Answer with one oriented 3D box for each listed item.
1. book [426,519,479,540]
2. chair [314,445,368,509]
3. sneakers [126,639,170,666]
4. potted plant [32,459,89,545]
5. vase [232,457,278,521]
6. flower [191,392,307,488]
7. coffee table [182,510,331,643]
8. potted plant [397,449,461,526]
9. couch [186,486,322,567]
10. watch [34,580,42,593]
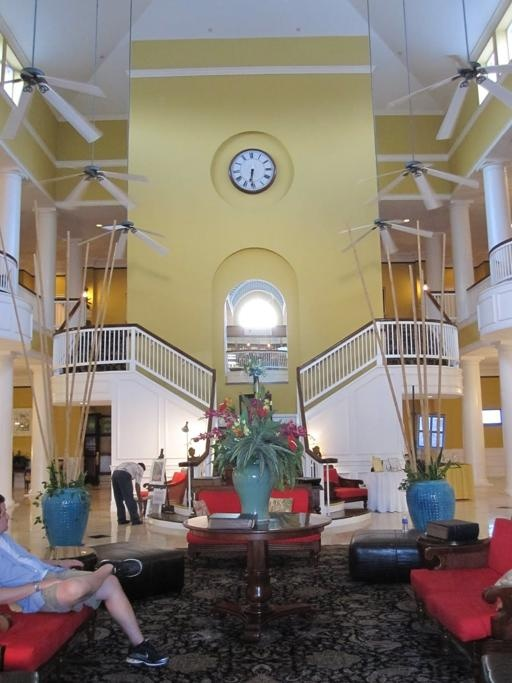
[{"bbox_3d":[1.245,1.160,3.580,0.187,0.075,0.198,1,-3,-27],"label":"book"},{"bbox_3d":[1.275,2.215,9.127,0.585,0.709,0.647,7,-21,-41],"label":"chair"},{"bbox_3d":[-0.525,1.514,2.839,0.218,0.120,0.098,4,-8,4],"label":"sneakers"},{"bbox_3d":[-1.535,1.320,4.667,0.383,0.592,0.404,0,-3,-39],"label":"potted plant"},{"bbox_3d":[0.005,0.875,3.518,0.238,0.370,0.238,-3,-7,25],"label":"vase"},{"bbox_3d":[-0.041,0.698,3.605,0.592,0.499,0.613,-16,-9,39],"label":"flower"},{"bbox_3d":[0.014,1.396,3.545,0.803,0.612,0.835,-5,-10,25],"label":"coffee table"},{"bbox_3d":[1.446,1.273,4.840,0.380,0.533,0.345,-15,-14,40],"label":"potted plant"},{"bbox_3d":[-0.034,1.742,5.666,1.209,0.550,0.544,-2,0,5],"label":"couch"},{"bbox_3d":[-0.953,1.071,2.540,0.034,0.031,0.034,16,-20,-26],"label":"watch"}]
